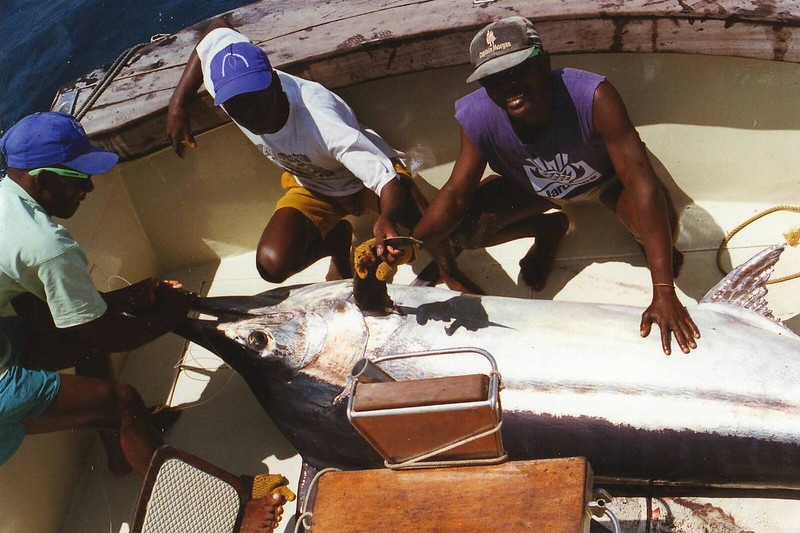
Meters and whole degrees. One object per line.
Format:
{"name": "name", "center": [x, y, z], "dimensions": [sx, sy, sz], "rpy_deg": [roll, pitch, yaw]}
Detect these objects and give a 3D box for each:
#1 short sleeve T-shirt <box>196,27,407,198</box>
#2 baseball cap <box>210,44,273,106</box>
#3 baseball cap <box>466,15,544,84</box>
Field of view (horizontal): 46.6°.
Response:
{"name": "short sleeve T-shirt", "center": [-0.431, -0.784, 4.546], "dimensions": [0.783, 0.969, 0.351], "rpy_deg": [-18, 57, 40]}
{"name": "baseball cap", "center": [-0.764, -0.960, 4.415], "dimensions": [0.298, 0.216, 0.406], "rpy_deg": [-19, 28, 7]}
{"name": "baseball cap", "center": [0.471, -1.022, 4.215], "dimensions": [0.312, 0.211, 0.428], "rpy_deg": [-12, 17, 36]}
